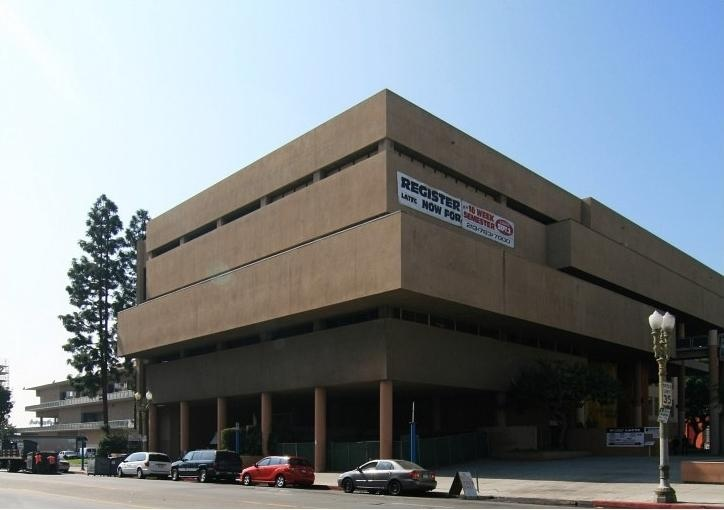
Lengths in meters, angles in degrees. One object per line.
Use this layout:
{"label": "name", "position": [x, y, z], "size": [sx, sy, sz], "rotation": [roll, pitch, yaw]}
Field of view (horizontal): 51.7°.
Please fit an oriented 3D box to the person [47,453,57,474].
{"label": "person", "position": [-27.891, 18.741, 67.227], "size": [0.717, 1.720, 1.035], "rotation": [1, -13, -4]}
